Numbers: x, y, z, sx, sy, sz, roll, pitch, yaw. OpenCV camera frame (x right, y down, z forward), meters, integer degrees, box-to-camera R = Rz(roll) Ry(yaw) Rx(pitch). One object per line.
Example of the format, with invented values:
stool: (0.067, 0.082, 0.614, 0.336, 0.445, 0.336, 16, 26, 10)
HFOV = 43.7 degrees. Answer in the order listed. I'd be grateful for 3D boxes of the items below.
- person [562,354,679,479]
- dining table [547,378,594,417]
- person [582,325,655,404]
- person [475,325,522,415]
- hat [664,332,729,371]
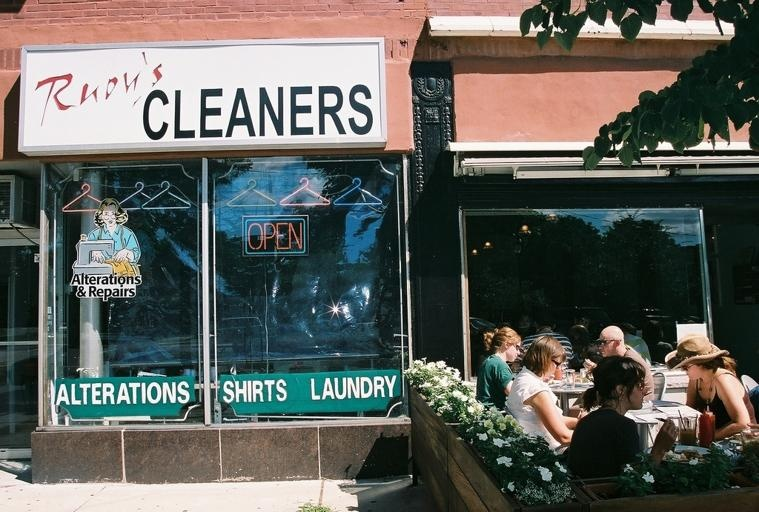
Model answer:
person: (2.760, 1.770, 10.443, 1.322, 1.599, 1.175, 1, -6, -9)
dining table: (2.625, 1.972, 12.604, 0.469, 0.304, 0.434, 6, -18, 6)
person: (3.282, 1.384, 12.943, 0.990, 1.098, 1.075, 1, 2, 1)
person: (1.678, 1.512, 12.497, 0.704, 1.051, 0.768, 2, -18, 1)
hat: (3.891, 1.130, 11.628, 0.762, 0.290, 0.793, -1, 16, 46)
